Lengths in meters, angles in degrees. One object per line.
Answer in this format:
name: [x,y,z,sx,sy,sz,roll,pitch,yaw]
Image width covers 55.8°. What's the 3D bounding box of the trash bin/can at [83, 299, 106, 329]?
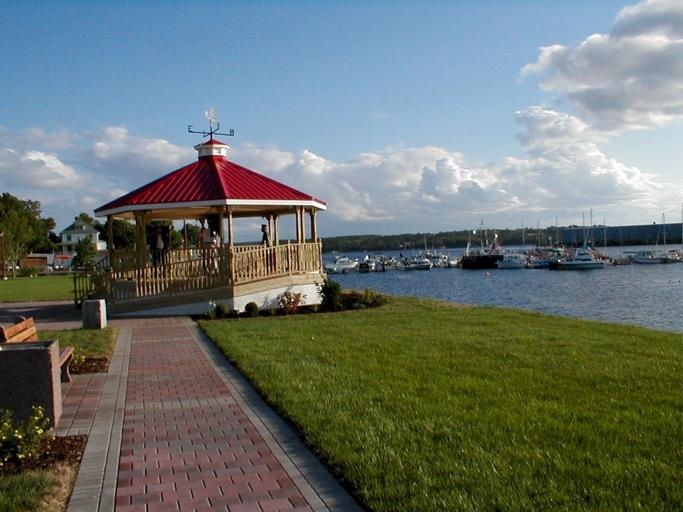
trash bin/can: [-6.883,1.574,18.017,0.683,1.055,0.714,-1,1,-18]
